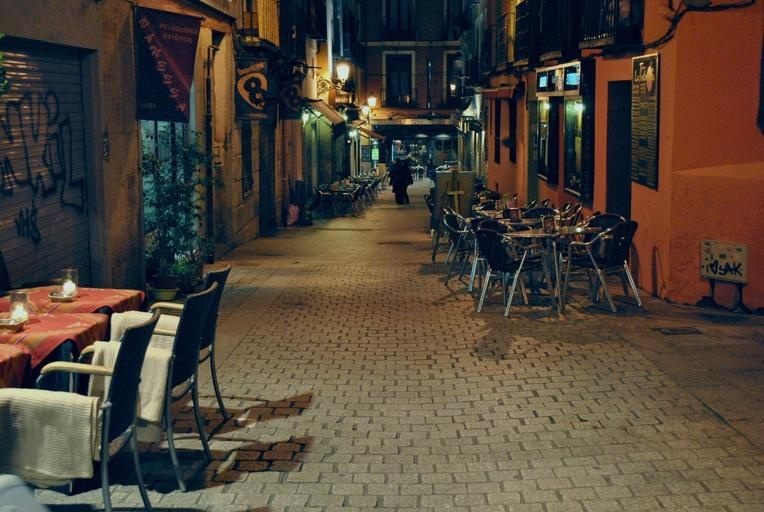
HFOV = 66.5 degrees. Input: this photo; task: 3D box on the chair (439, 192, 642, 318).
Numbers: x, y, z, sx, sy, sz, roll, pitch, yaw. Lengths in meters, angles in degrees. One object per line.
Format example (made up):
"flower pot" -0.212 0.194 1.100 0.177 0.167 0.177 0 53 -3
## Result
"chair" 2.939 0.001 10.152 2.757 1.435 3.030 1 10 10
